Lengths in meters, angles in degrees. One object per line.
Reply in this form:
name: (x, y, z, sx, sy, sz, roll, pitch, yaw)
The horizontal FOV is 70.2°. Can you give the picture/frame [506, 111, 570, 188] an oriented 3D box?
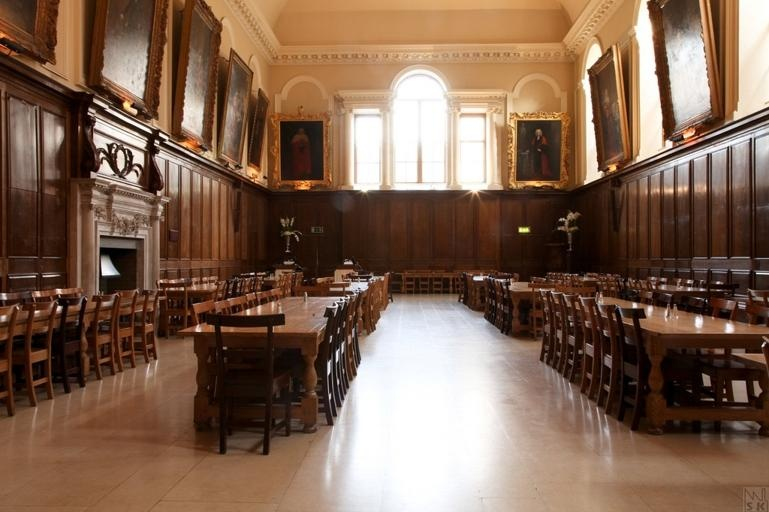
picture/frame: (6.468, -4.369, 22.703, 2.717, 3.729, 0.397, 0, 0, 0)
